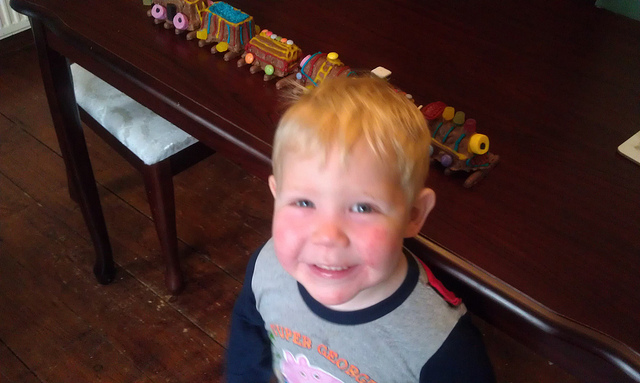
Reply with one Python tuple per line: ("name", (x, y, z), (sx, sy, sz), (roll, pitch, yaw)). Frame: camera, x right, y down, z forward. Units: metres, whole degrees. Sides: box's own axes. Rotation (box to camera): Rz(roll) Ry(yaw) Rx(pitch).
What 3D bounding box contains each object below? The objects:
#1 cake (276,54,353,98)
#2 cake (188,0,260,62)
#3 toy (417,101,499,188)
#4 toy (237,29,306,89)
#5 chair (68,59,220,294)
("cake", (-0.012, -0.317, 1.296), (0.180, 0.073, 0.190), (22, 47, 27))
("cake", (-0.289, -0.460, 1.474), (0.175, 0.066, 0.199), (35, 76, 12))
("toy", (0.341, -0.139, 1.234), (0.122, 0.122, 0.269), (-21, 30, -13))
("toy", (-0.134, -0.387, 1.354), (0.159, 0.063, 0.176), (33, 66, 15))
("chair", (-0.597, -0.157, 1.958), (0.603, 0.641, 0.754), (-30, 55, -31))
